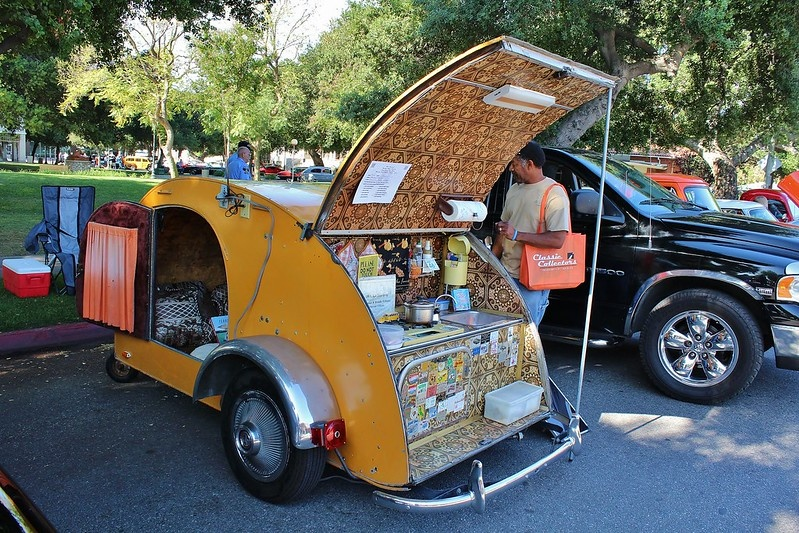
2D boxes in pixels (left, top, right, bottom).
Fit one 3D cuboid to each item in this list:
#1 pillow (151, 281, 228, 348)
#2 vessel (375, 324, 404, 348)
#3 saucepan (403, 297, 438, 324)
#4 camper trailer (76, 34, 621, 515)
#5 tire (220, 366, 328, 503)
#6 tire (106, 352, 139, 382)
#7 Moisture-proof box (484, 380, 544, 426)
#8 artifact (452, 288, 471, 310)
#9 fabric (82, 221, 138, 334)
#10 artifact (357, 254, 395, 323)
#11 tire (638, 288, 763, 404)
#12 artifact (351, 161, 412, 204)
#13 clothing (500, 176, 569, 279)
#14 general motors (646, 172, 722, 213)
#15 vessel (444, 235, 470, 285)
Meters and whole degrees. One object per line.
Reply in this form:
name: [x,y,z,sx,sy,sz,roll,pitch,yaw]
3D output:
pillow: [-2.429,0.543,6.662,0.794,0.847,0.309,2,-35,-27]
vessel: [-0.073,0.580,4.895,0.185,0.123,0.191,-1,8,-10]
saucepan: [0.179,0.432,5.585,0.194,0.176,0.253,1,1,-4]
camper trailer: [-0.930,-0.045,6.727,5.610,3.925,3.736,12,12,38]
tire: [-1.046,1.416,4.900,0.990,1.113,0.406,-13,-5,39]
tire: [-3.165,1.145,6.599,0.376,0.405,0.140,7,10,3]
Moisture-proof box: [1.126,1.273,5.605,0.276,0.212,0.575,10,14,38]
artifact: [0.636,0.343,5.987,0.202,0.213,0.048,-4,-6,-37]
fabric: [-3.072,0.086,6.162,1.010,1.264,0.129,9,8,31]
artifact: [-0.258,0.207,5.647,0.418,0.596,0.317,-11,15,-42]
tire: [3.500,0.898,6.710,1.248,1.386,0.473,1,6,32]
artifact: [-0.166,-0.745,5.196,0.238,0.389,0.591,10,14,38]
clothing: [1.423,-0.377,6.073,0.425,1.082,0.895,-2,11,-32]
general motors: [4.971,-1.327,9.965,1.336,0.791,1.058,8,22,26]
vessel: [0.595,-0.065,6.097,0.254,0.498,0.174,8,12,37]
